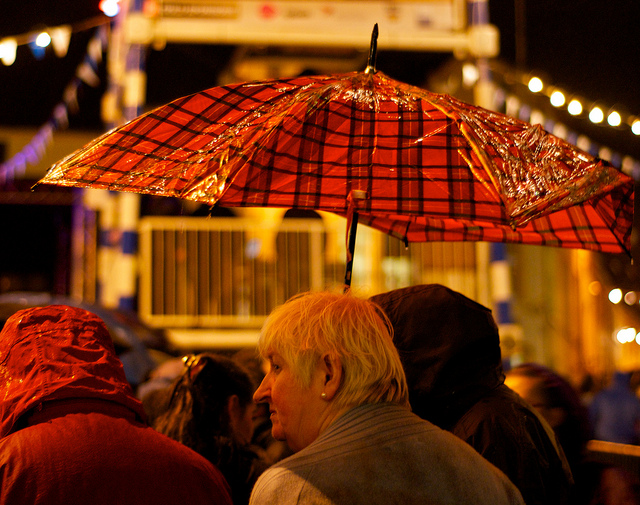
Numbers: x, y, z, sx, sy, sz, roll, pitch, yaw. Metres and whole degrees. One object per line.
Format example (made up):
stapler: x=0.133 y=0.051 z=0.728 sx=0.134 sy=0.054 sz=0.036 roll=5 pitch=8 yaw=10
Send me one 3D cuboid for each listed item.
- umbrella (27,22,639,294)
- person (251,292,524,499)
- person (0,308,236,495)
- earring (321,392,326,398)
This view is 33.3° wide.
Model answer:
umbrella: x=0.239 y=-0.459 z=5.406 sx=1.907 sy=1.150 sz=1.949 roll=18 pitch=-2 yaw=-28
person: x=0.232 y=0.691 z=4.788 sx=1.014 sy=0.869 sz=0.825 roll=4 pitch=-13 yaw=-39
person: x=-1.010 y=0.707 z=4.895 sx=1.008 sy=0.748 sz=0.463 roll=7 pitch=7 yaw=-6
earring: x=0.015 y=0.636 z=4.770 sx=0.024 sy=0.024 sz=0.007 roll=14 pitch=10 yaw=41
